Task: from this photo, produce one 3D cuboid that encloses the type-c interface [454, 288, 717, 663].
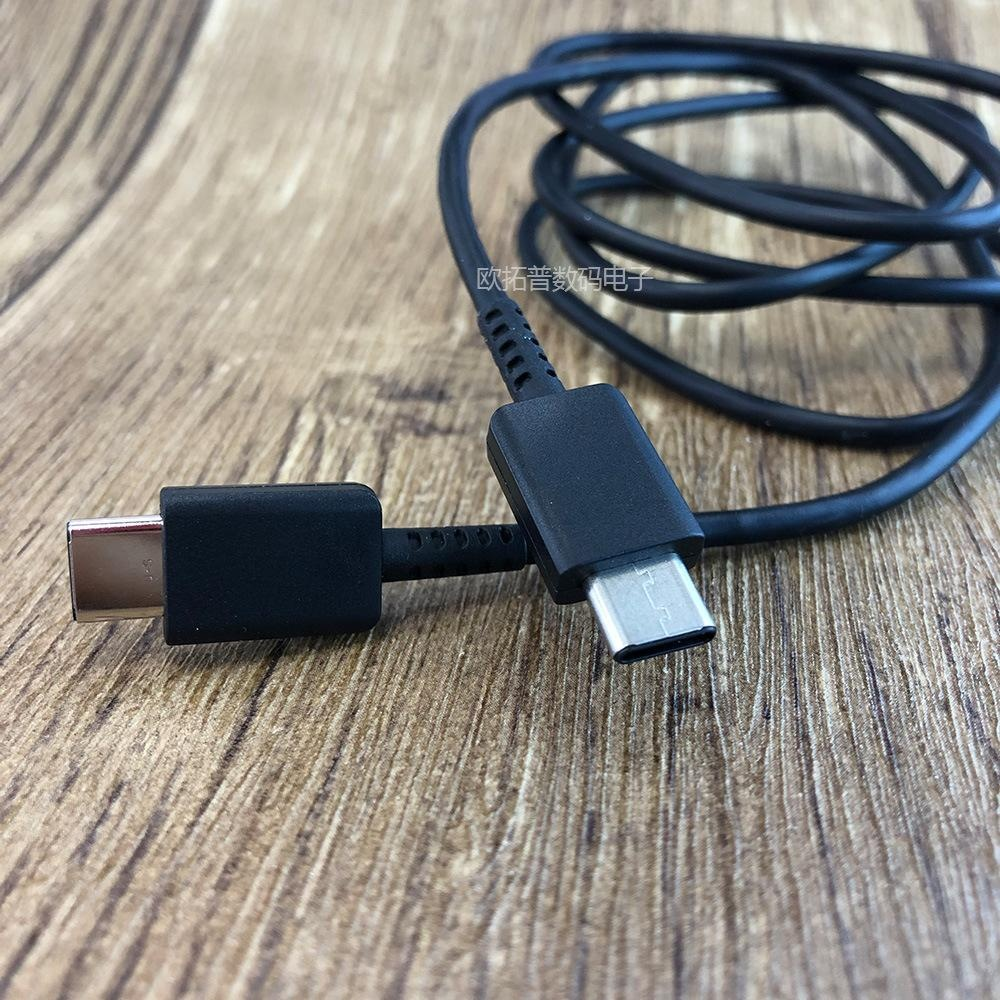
[{"bbox_3d":[0.024,-0.017,0.416,0.046,0.025,0.148,-13,50,-19],"label":"type-c interface"}]
